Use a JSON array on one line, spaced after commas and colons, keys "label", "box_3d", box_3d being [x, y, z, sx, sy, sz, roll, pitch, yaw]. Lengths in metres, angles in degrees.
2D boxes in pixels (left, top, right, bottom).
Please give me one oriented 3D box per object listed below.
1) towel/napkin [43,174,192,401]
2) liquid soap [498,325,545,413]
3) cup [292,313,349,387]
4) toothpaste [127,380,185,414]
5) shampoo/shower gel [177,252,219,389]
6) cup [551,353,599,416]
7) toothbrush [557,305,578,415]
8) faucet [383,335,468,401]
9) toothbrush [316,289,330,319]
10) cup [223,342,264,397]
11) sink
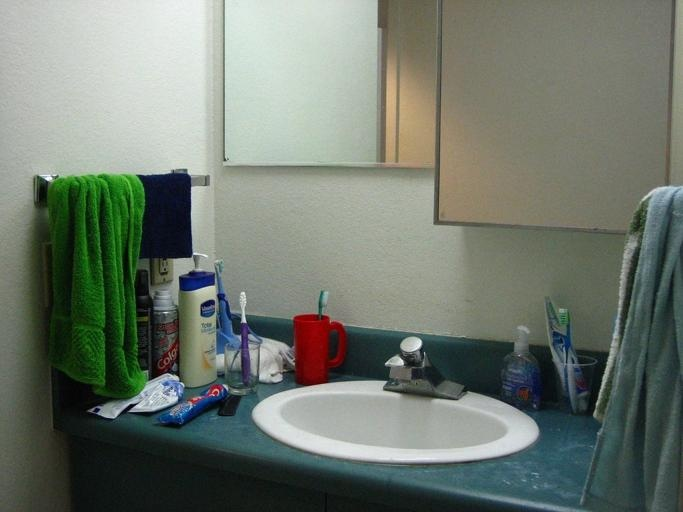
[{"label": "towel/napkin", "box_3d": [-0.502, 0.061, 1.356, 0.181, 0.493, 0.319, 9, 14, 32]}, {"label": "liquid soap", "box_3d": [0.419, 0.264, 1.423, 0.076, 0.191, 0.097, 6, 12, 8]}, {"label": "cup", "box_3d": [-0.054, 0.241, 1.573, 0.120, 0.188, 0.104, 6, 11, 25]}, {"label": "toothpaste", "box_3d": [-0.422, 0.307, 1.379, 0.108, 0.053, 0.110, -2, 15, -42]}, {"label": "shampoo/shower gel", "box_3d": [-0.354, 0.166, 1.468, 0.131, 0.295, 0.154, 0, 1, 2]}, {"label": "cup", "box_3d": [0.545, 0.301, 1.443, 0.126, 0.142, 0.124, 1, -1, 0]}, {"label": "toothbrush", "box_3d": [0.523, 0.241, 1.366, 0.035, 0.187, 0.106, 1, 7, 24]}, {"label": "faucet", "box_3d": [0.190, 0.257, 1.483, 0.177, 0.153, 0.238, 6, 12, 29]}, {"label": "toothbrush", "box_3d": [-0.050, 0.128, 1.583, 0.021, 0.078, 0.022, 7, -1, -42]}, {"label": "cup", "box_3d": [-0.245, 0.275, 1.460, 0.084, 0.122, 0.055, 1, 12, -1]}, {"label": "sink", "box_3d": [0.132, 0.348, 1.376, 0.579, 0.158, 0.468, 1, 3, 14]}]
